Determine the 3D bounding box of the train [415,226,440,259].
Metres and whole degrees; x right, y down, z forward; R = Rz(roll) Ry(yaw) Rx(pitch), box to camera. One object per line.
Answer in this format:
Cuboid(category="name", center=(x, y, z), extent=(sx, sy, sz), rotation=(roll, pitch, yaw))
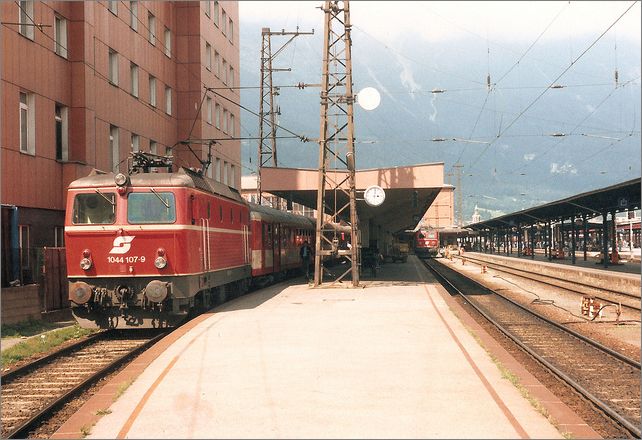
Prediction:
Cuboid(category="train", center=(14.162, 2.840, 83.943), extent=(3.052, 3.847, 2.349), rotation=(-5, -5, 31))
